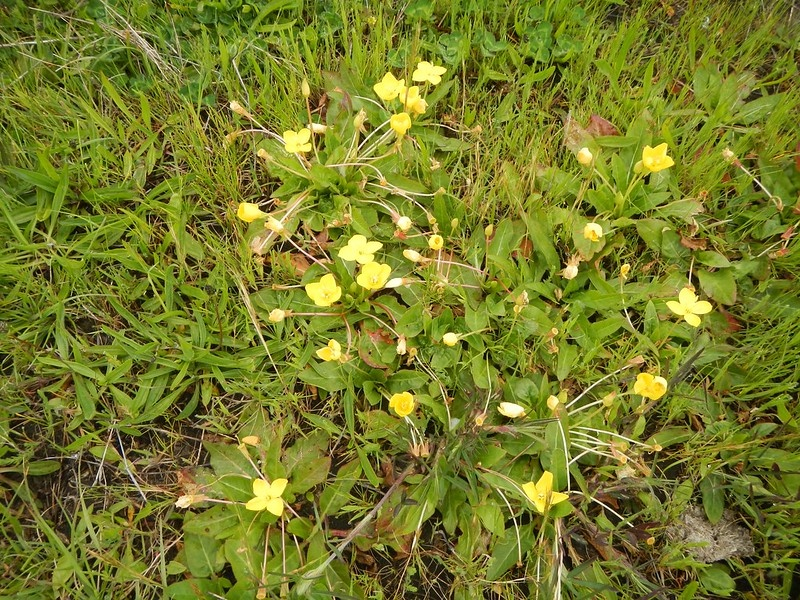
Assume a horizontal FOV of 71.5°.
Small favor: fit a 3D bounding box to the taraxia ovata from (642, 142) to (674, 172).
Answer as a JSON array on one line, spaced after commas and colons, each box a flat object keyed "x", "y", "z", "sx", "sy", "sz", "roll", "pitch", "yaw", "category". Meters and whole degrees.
[{"x": 1.224, "y": -0.678, "z": 2.649, "sx": 0.134, "sy": 0.087, "sz": 0.188, "roll": 10, "pitch": 102, "yaw": 13, "category": "taraxia ovata"}]

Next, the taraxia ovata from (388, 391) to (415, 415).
[{"x": 0.005, "y": 0.446, "z": 2.371, "sx": 0.092, "sy": 0.078, "sz": 0.090, "roll": -6, "pitch": 76, "yaw": -3, "category": "taraxia ovata"}]

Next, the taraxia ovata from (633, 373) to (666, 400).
[{"x": 1.029, "y": 0.367, "z": 2.314, "sx": 0.124, "sy": 0.053, "sz": 0.120, "roll": 10, "pitch": 83, "yaw": 20, "category": "taraxia ovata"}]

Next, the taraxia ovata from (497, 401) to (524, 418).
[{"x": 0.480, "y": 0.473, "z": 2.379, "sx": 0.116, "sy": 0.047, "sz": 0.071, "roll": 6, "pitch": 102, "yaw": -37, "category": "taraxia ovata"}]

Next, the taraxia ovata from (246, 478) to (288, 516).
[{"x": -0.565, "y": 0.832, "z": 2.354, "sx": 0.167, "sy": 0.089, "sz": 0.189, "roll": 9, "pitch": 78, "yaw": 3, "category": "taraxia ovata"}]

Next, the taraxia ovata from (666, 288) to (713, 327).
[{"x": 1.367, "y": 0.039, "z": 2.604, "sx": 0.200, "sy": 0.074, "sz": 0.224, "roll": -9, "pitch": 71, "yaw": -4, "category": "taraxia ovata"}]
